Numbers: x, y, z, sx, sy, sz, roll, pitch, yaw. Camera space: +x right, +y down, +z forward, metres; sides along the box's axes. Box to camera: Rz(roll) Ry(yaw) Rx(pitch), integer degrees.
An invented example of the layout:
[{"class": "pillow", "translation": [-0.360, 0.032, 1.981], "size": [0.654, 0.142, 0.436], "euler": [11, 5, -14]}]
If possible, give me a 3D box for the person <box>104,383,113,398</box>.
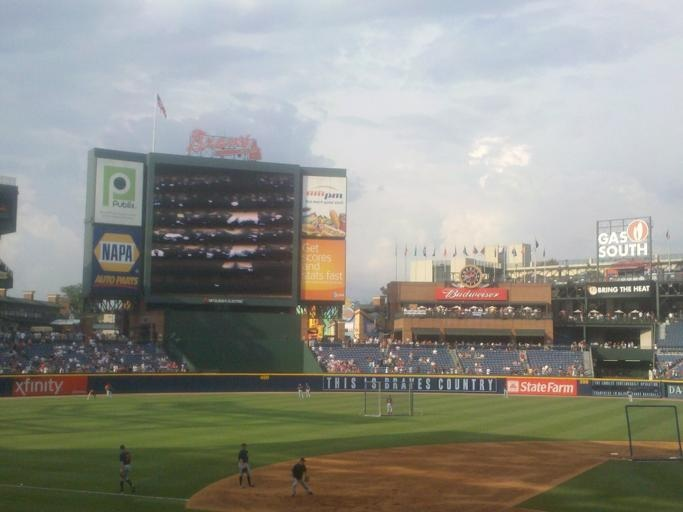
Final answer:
[{"class": "person", "translation": [-25.535, 14.718, 149.434], "size": [0.737, 1.453, 2.514], "euler": [1, -6, -10]}]
